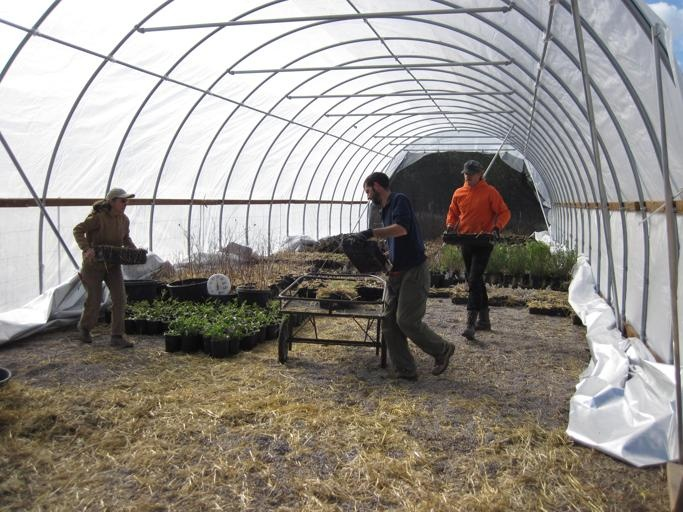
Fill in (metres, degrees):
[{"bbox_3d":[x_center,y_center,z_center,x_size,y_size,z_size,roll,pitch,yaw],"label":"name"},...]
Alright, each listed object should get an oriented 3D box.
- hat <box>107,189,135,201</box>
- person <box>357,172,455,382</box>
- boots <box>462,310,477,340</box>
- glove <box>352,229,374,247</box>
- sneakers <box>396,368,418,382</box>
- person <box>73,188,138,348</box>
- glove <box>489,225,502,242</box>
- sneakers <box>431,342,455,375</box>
[{"bbox_3d":[-3.010,-0.834,6.956,0.369,0.170,0.252,-1,7,-18],"label":"hat"},{"bbox_3d":[0.742,0.248,5.919,1.016,2.371,0.568,1,9,4],"label":"person"},{"bbox_3d":[1.864,1.000,7.500,0.184,0.418,0.387,4,10,20],"label":"boots"},{"bbox_3d":[0.239,-0.207,5.866,0.246,0.163,0.206,-3,-4,7],"label":"glove"},{"bbox_3d":[0.751,1.394,6.001,0.168,0.194,0.128,-2,4,28],"label":"sneakers"},{"bbox_3d":[-3.291,0.173,7.170,0.834,2.237,0.700,-1,9,-12],"label":"person"},{"bbox_3d":[2.252,-0.340,7.582,0.205,0.332,0.095,-4,-17,31],"label":"glove"},{"bbox_3d":[1.186,1.198,6.058,0.198,0.514,0.179,0,25,-14],"label":"sneakers"}]
